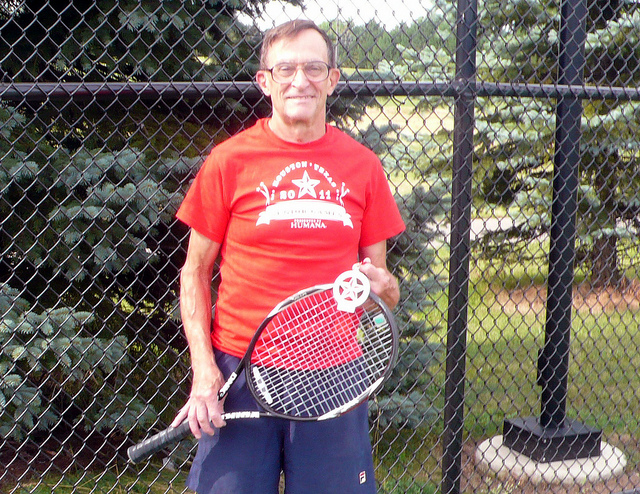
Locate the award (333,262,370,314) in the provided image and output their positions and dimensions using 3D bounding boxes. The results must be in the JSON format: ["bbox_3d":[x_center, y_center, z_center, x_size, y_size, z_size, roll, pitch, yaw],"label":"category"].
[{"bbox_3d":[0.161,0.199,3.784,0.165,0.220,0.209,0,10,-10],"label":"award"}]
